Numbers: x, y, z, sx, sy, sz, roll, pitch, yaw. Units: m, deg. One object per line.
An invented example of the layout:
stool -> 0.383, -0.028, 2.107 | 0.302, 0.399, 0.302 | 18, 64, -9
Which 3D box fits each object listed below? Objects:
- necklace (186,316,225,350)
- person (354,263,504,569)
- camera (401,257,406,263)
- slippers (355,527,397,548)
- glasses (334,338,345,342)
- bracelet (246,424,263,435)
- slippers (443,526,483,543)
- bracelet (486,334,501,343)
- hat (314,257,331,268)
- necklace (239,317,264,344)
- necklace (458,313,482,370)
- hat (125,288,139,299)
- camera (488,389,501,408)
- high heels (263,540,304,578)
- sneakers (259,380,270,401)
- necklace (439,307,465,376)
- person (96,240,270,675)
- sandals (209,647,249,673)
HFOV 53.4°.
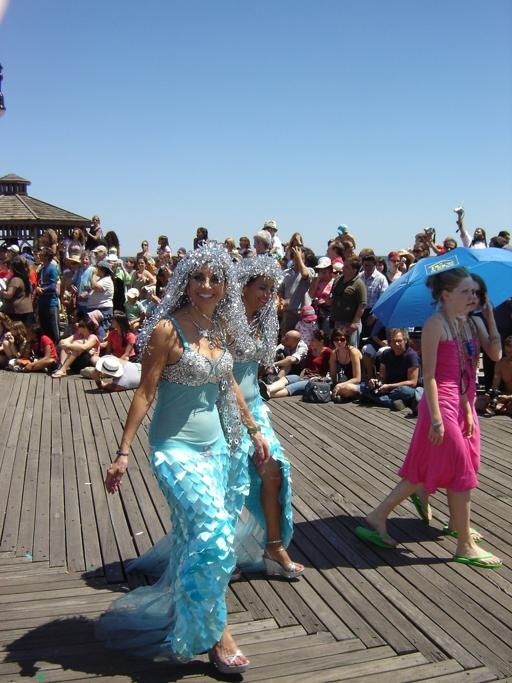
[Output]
necklace -> -0.209, -0.023, 2.084 | 0.044, 0.108, 0.123 | -32, -20, 22
person -> 1.119, 0.408, 2.943 | 0.682, 1.603, 0.579 | 2, -1, -31
camera -> 2.559, -1.405, 8.839 | 0.100, 0.125, 0.046 | -3, -12, -4
slippers -> 0.700, 1.161, 2.996 | 0.220, 0.077, 0.060 | 14, 4, 38
glasses -> 1.142, -0.006, 6.956 | 0.118, 0.073, 0.043 | 0, -1, 30
bracelet -> -0.011, 0.421, 2.407 | 0.076, 0.036, 0.071 | -3, -4, -9
slippers -> 1.253, 1.179, 3.110 | 0.234, 0.058, 0.126 | 2, 16, 15
bracelet -> 1.435, -0.021, 3.093 | 0.038, 0.082, 0.076 | 7, -2, -4
hat -> 1.075, -1.234, 8.091 | 0.244, 0.232, 0.370 | 1, -1, 7
necklace -> -0.008, -0.050, 2.553 | 0.088, 0.111, 0.049 | 6, -27, -28
necklace -> 1.208, 0.018, 2.918 | 0.162, 0.279, 0.178 | 0, -1, 11
hat -> -2.362, -0.917, 9.834 | 0.186, 0.101, 0.264 | 20, 11, 5
camera -> 2.884, 0.703, 6.165 | 0.092, 0.258, 0.103 | 1, -45, 16
high heels -> 0.135, 1.106, 2.654 | 0.245, 0.185, 0.134 | 3, 2, 30
sneakers -> 0.098, 0.650, 6.625 | 0.122, 0.303, 0.140 | -13, -4, 31
necklace -> 1.040, 0.027, 2.804 | 0.094, 0.308, 0.172 | -4, 6, 15
person -> -0.261, 0.378, 2.016 | 0.617, 1.109, 0.764 | 1, -1, 1
sandals -> -0.092, 1.068, 1.728 | 0.065, 0.058, 0.155 | 12, -21, -33
